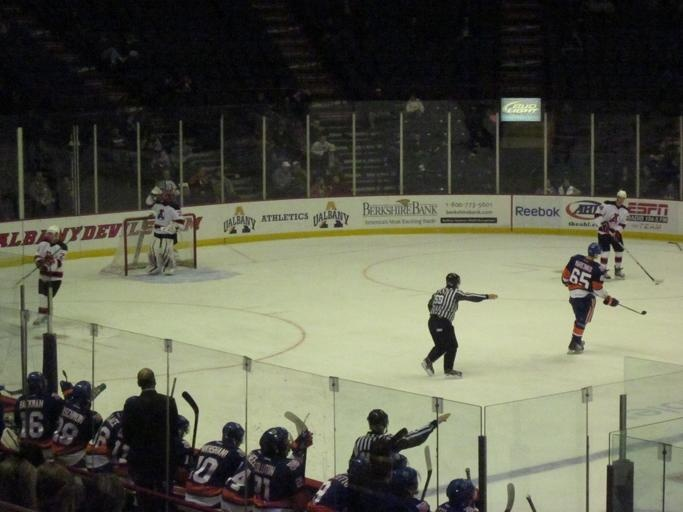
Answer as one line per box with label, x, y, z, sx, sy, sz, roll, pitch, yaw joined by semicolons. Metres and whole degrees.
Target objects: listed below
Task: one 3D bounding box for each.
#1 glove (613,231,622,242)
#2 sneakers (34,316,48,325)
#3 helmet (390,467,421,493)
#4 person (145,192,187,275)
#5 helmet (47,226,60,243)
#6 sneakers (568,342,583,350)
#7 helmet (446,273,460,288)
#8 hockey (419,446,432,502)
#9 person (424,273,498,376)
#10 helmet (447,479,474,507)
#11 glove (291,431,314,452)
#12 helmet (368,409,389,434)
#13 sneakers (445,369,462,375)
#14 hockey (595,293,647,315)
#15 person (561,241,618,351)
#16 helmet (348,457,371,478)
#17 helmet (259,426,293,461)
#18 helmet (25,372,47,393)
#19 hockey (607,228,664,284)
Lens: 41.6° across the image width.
glove;5.957;-0.423;19.339;0.139;0.206;0.165;-14;5;-39
sneakers;-3.592;0.768;10.674;0.155;0.096;0.052;-4;12;-17
helmet;0.585;2.107;8.347;0.210;0.250;0.253;4;41;30
person;-4.038;-0.571;20.392;0.837;1.883;0.930;-3;12;-11
helmet;-5.129;-0.381;15.731;0.243;0.287;0.303;1;-2;2
sneakers;3.664;1.425;14.086;0.142;0.043;0.140;-3;6;-8
helmet;1.624;0.359;13.216;0.258;0.235;0.191;-6;7;14
hockey;0.784;2.032;8.408;0.114;0.492;0.086;-4;12;-16
person;1.929;1.168;14.500;1.000;1.506;1.262;-13;16;-41
helmet;1.098;2.199;8.310;0.258;0.240;0.130;1;12;6
glove;-0.388;1.828;8.832;0.222;0.095;0.156;-25;49;-18
helmet;0.301;1.585;8.556;0.192;0.221;0.234;2;-11;-6
sneakers;1.627;1.716;13.170;0.205;0.084;0.096;-2;3;6
hockey;5.087;0.889;16.366;1.250;0.085;0.202;16;29;-32
person;3.882;0.688;14.209;0.747;1.608;0.704;1;12;8
helmet;0.169;2.011;8.491;0.203;0.251;0.145;6;-13;-26
helmet;-0.636;1.838;8.774;0.361;0.304;0.274;-3;17;-39
helmet;-3.490;1.454;10.334;0.204;0.237;0.248;3;10;3
hockey;6.793;0.046;20.778;0.261;1.701;0.312;-45;-16;-12
